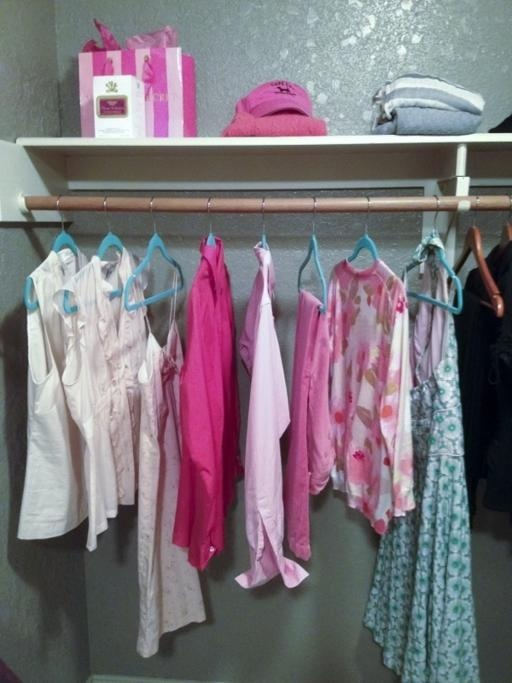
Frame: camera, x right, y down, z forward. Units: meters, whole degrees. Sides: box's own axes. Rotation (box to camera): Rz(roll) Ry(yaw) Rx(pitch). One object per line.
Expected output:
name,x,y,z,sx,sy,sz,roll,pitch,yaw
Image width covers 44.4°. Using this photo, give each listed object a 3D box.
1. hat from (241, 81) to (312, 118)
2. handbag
hat,0.039,-0.557,1.460,0.173,0.082,0.116,-6,20,-2
handbag,-0.264,-0.590,1.436,0.252,0.368,0.105,-1,4,0
